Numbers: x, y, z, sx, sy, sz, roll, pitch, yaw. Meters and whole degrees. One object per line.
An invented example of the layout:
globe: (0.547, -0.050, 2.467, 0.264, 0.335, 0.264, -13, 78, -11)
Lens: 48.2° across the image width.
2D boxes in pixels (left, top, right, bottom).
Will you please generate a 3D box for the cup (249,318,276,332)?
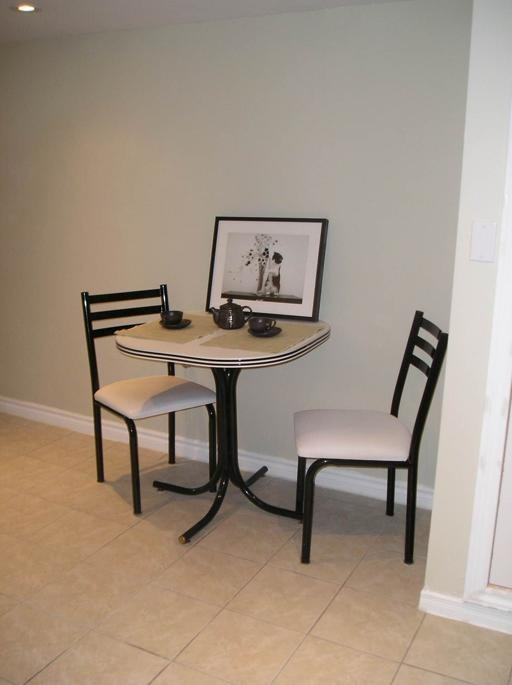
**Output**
cup: (0.020, -0.069, 2.081, 0.085, 0.052, 0.147, 2, 9, 8)

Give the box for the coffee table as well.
coffee table: (-0.115, 0.310, 2.259, 0.746, 0.732, 0.767, 3, 13, 18)

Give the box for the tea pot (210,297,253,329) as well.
tea pot: (-0.093, -0.108, 2.208, 0.145, 0.116, 0.111, 3, 11, 7)

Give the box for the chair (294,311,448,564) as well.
chair: (0.377, 0.324, 2.060, 0.520, 0.813, 0.528, -3, 12, -13)

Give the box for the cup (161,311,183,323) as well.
cup: (-0.316, -0.112, 2.227, 0.054, 0.031, 0.057, 1, 24, 0)
